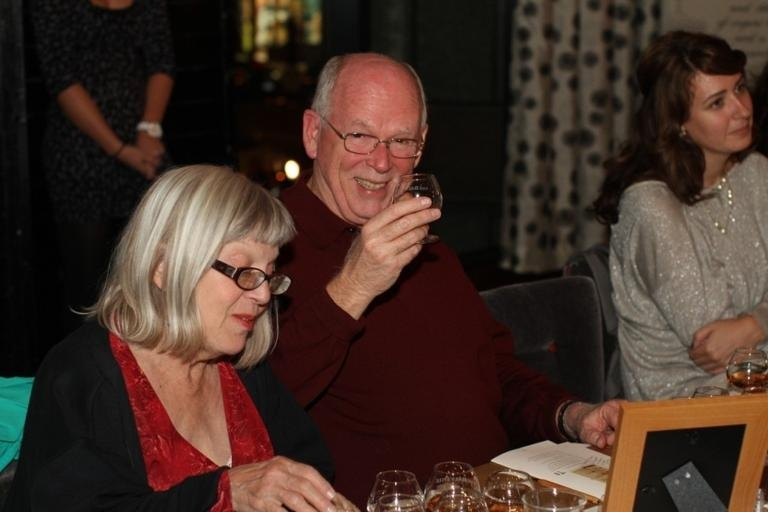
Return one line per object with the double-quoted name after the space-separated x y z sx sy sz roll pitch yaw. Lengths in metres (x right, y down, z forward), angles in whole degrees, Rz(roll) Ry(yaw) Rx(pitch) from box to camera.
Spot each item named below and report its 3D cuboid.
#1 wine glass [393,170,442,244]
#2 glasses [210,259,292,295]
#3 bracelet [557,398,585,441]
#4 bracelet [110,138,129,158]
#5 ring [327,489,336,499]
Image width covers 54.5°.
0.109 -0.175 2.577 0.206 0.254 0.198 -1 1 21 "wine glass"
-0.415 0.070 2.321 0.134 0.043 0.138 25 4 31 "glasses"
0.664 0.581 2.650 0.098 0.095 0.129 2 14 1 "bracelet"
-1.305 -0.527 3.660 0.016 0.068 0.069 32 16 15 "bracelet"
-0.147 0.674 2.106 0.020 0.020 0.005 1 -8 -27 "ring"
